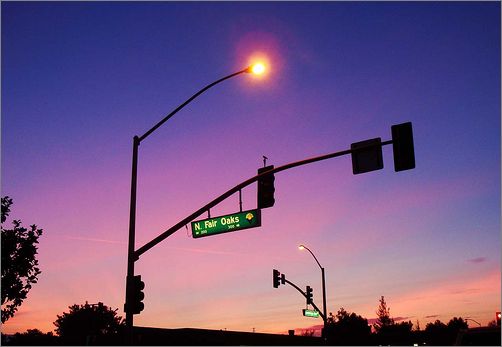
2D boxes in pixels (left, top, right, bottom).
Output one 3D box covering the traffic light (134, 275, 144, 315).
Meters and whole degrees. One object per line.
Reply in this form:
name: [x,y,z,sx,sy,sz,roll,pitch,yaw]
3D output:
traffic light: [-6.520,7.004,32.000,0.605,2.080,0.891,3,-25,-11]
